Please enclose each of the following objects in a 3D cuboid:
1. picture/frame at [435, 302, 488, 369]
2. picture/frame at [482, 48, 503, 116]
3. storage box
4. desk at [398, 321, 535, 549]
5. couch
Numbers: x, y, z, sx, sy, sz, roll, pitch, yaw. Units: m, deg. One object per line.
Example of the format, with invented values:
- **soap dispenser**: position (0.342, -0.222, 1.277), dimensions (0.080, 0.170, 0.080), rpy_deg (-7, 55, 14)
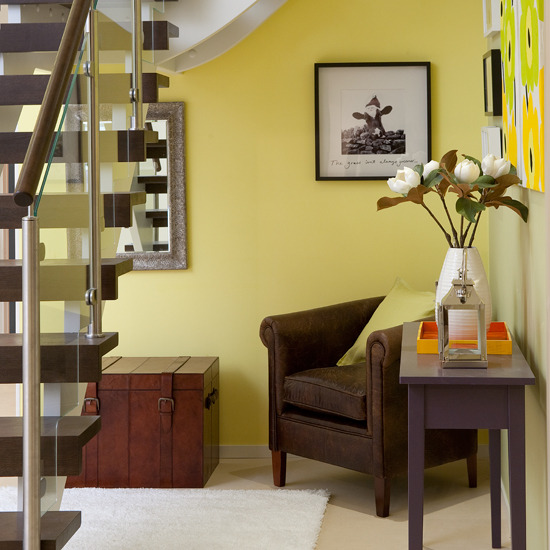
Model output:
- **picture/frame**: position (0.547, 0.176, 2.010), dimensions (0.146, 0.243, 0.161), rpy_deg (0, -9, 4)
- **picture/frame**: position (0.942, -0.830, 2.981), dimensions (0.071, 0.286, 0.279), rpy_deg (0, 3, 15)
- **storage box**: position (-0.700, 0.710, 3.612), dimensions (0.644, 0.556, 0.717), rpy_deg (0, 0, 6)
- **desk**: position (0.645, 0.549, 2.331), dimensions (0.259, 0.477, 0.886), rpy_deg (-1, 3, 5)
- **couch**: position (0.528, 0.572, 3.590), dimensions (0.841, 1.126, 0.953), rpy_deg (-2, -3, 43)
